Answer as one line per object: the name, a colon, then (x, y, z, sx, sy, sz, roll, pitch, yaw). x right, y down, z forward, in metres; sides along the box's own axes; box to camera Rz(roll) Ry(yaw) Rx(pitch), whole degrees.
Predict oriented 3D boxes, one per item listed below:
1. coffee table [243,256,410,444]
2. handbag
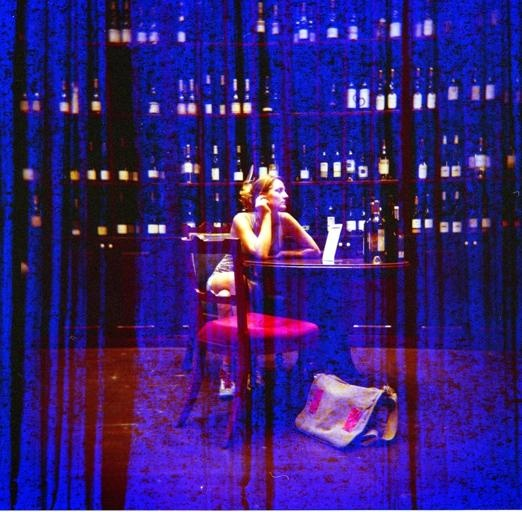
coffee table: (0.202, 0.377, 3.758, 0.717, 0.774, 0.704, -1, -3, 27)
handbag: (0.314, 0.629, 3.585, 0.338, 0.113, 0.340, 26, 50, 30)
